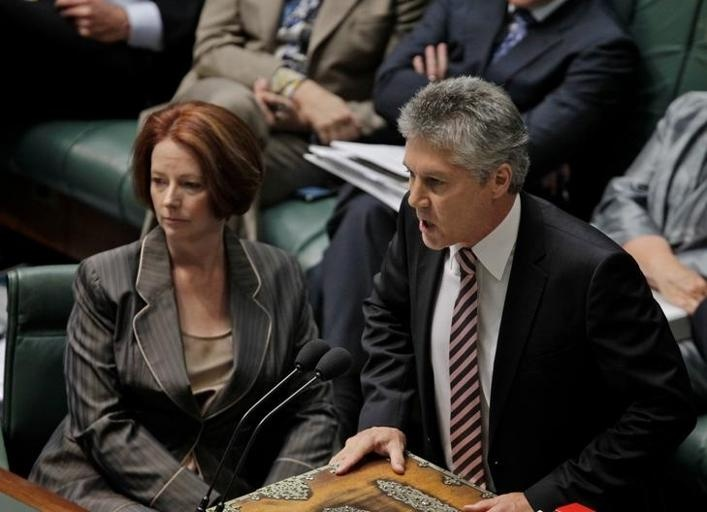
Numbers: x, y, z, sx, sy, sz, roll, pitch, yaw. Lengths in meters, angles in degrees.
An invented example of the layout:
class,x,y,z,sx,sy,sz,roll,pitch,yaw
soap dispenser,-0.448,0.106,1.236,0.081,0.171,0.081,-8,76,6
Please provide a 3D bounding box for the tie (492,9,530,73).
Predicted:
class,x,y,z,sx,sy,sz,roll,pitch,yaw
tie,0.550,-0.759,2.210,0.050,0.149,0.111,5,41,-50

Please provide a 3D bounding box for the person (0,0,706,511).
class,x,y,z,sx,sy,sz,roll,pitch,yaw
person,0.066,0.004,2.021,1.651,1.695,0.398,2,8,-23
